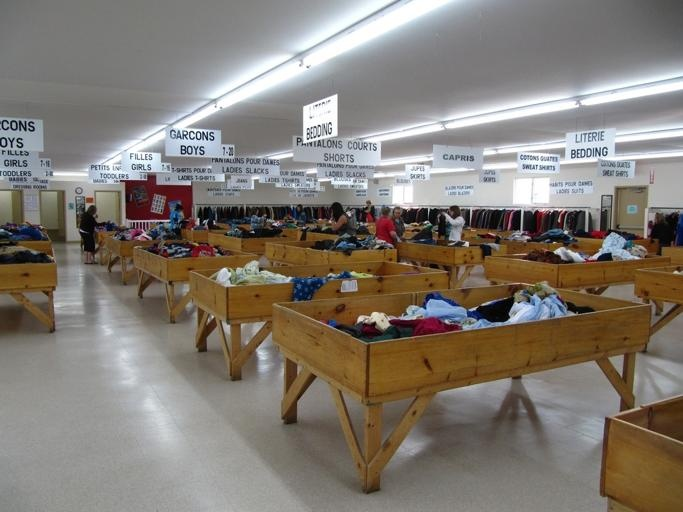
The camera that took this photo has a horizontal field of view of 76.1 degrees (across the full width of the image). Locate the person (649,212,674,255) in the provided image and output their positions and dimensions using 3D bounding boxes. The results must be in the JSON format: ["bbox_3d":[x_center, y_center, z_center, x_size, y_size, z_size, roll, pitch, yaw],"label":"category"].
[{"bbox_3d":[10.680,-0.913,14.487,0.663,1.001,1.285,5,9,36],"label":"person"}]

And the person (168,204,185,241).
[{"bbox_3d":[-4.843,-1.101,12.836,0.392,0.930,1.087,-2,8,-19],"label":"person"}]

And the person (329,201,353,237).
[{"bbox_3d":[0.059,-0.816,9.848,0.526,0.771,1.358,0,7,1],"label":"person"}]

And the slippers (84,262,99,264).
[{"bbox_3d":[-7.851,0.228,13.771,0.461,0.129,0.166,-1,2,-13],"label":"slippers"}]
